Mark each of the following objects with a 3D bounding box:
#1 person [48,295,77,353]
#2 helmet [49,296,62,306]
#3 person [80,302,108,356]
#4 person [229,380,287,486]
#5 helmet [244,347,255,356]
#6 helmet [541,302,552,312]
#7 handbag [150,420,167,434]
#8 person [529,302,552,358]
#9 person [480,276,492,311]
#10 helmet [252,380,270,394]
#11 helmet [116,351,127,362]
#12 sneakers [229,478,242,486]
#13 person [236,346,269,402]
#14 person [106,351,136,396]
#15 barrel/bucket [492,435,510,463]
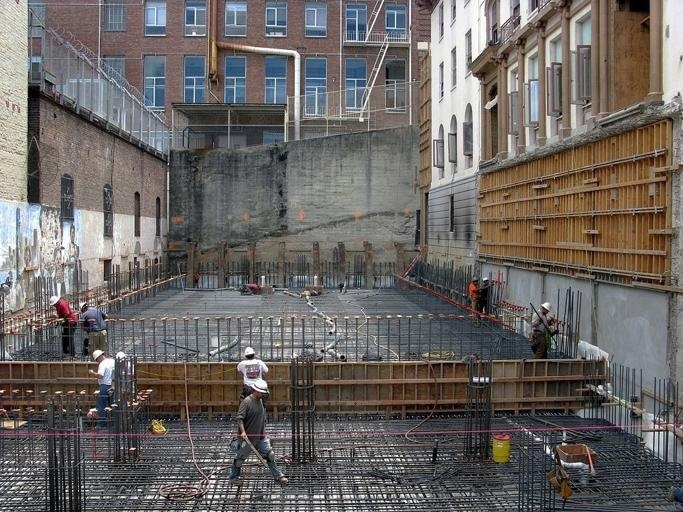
[{"bbox_3d":[-8.447,2.075,31.948,0.798,1.668,3.131,-1,3,-15],"label":"person"},{"bbox_3d":[-8.771,1.411,32.234,0.355,0.162,0.371,-39,18,-22],"label":"helmet"},{"bbox_3d":[-7.239,2.206,30.810,0.686,1.438,1.979,-1,3,-14],"label":"person"},{"bbox_3d":[-2.006,4.083,24.496,1.237,2.410,0.899,-1,2,-10],"label":"person"},{"bbox_3d":[-2.374,2.434,26.885,0.216,0.191,0.314,-1,-8,-10],"label":"helmet"},{"bbox_3d":[5.842,1.441,30.434,0.334,0.229,0.426,17,-1,14],"label":"helmet"},{"bbox_3d":[-4.719,4.381,27.074,0.408,0.286,0.702,-1,3,-11],"label":"handbag"},{"bbox_3d":[5.699,2.144,30.241,0.600,1.581,1.177,0,3,11],"label":"person"},{"bbox_3d":[4.985,1.389,36.904,0.389,1.210,1.063,0,3,9],"label":"person"},{"bbox_3d":[-1.906,3.055,24.390,0.355,0.347,0.287,-1,3,-14],"label":"helmet"},{"bbox_3d":[-5.402,2.506,25.773,0.231,0.208,0.244,-4,9,-30],"label":"helmet"},{"bbox_3d":[-2.471,5.225,24.400,0.224,0.189,0.145,-1,4,-10],"label":"sneakers"},{"bbox_3d":[-2.332,3.250,27.203,0.716,2.112,0.588,0,24,-7],"label":"person"},{"bbox_3d":[-5.309,2.953,25.623,0.485,1.057,0.525,0,8,-18],"label":"person"},{"bbox_3d":[3.786,4.667,25.411,0.467,0.824,0.517,1,-3,2],"label":"barrel/bucket"}]
